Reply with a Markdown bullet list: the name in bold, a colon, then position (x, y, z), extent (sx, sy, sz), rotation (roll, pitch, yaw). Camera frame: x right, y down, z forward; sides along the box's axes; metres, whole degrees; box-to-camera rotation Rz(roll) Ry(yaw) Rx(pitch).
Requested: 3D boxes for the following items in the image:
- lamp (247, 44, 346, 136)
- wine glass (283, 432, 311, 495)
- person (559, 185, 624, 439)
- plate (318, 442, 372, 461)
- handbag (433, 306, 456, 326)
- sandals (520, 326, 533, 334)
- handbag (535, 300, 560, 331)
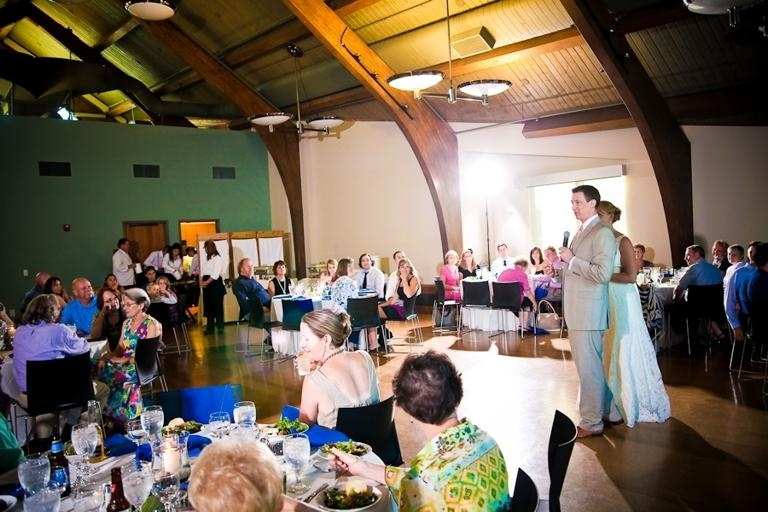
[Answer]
- **lamp**: position (-1.918, -3.747, 11.720), extent (2.033, 1.959, 0.940), rotation (0, -4, -24)
- **wine glass**: position (-0.518, 1.199, 3.147), extent (0.153, 0.322, 0.239), rotation (-2, -2, -10)
- **person**: position (1.982, 0.526, 5.083), extent (0.504, 2.399, 0.378), rotation (-3, -2, 25)
- **plate**: position (-0.246, 1.168, 3.251), extent (0.320, 0.092, 0.259), rotation (-2, -2, -3)
- **handbag**: position (1.124, 1.145, 10.139), extent (0.351, 0.481, 0.459), rotation (3, -2, 23)
- **sandals**: position (2.468, 1.262, 9.193), extent (0.267, 0.115, 0.100), rotation (-3, 0, -17)
- **handbag**: position (2.892, 1.054, 9.456), extent (0.461, 0.679, 0.246), rotation (-2, -7, -3)
